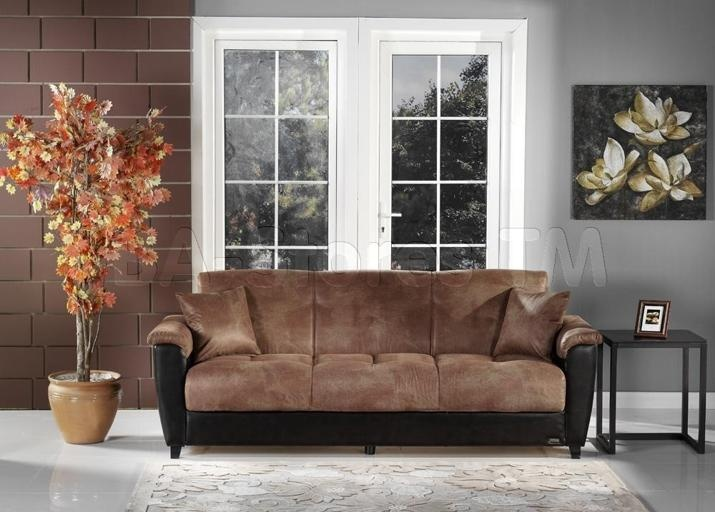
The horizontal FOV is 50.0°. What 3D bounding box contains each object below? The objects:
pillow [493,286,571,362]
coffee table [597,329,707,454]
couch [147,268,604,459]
[{"bbox_3d":[1.201,0.466,5.339,0.152,0.480,0.492,24,-13,-41],"label":"pillow"},{"bbox_3d":[2.071,0.901,5.543,0.894,1.074,0.770,0,-4,1],"label":"coffee table"},{"bbox_3d":[0.095,0.760,5.441,2.996,1.176,1.028,-1,6,2],"label":"couch"}]
